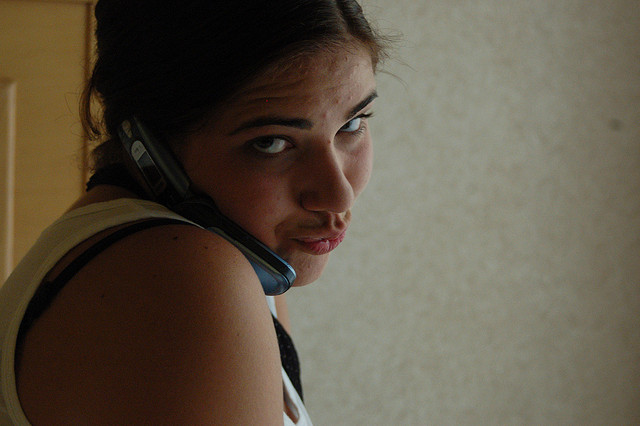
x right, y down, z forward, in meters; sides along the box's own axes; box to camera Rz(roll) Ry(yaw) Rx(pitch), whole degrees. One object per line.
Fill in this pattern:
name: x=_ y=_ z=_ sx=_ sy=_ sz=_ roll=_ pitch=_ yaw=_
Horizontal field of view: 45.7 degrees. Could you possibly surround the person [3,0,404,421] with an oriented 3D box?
person: x=-0.245 y=0.060 z=1.864 sx=0.725 sy=1.208 sz=0.865 roll=6 pitch=1 yaw=-13
